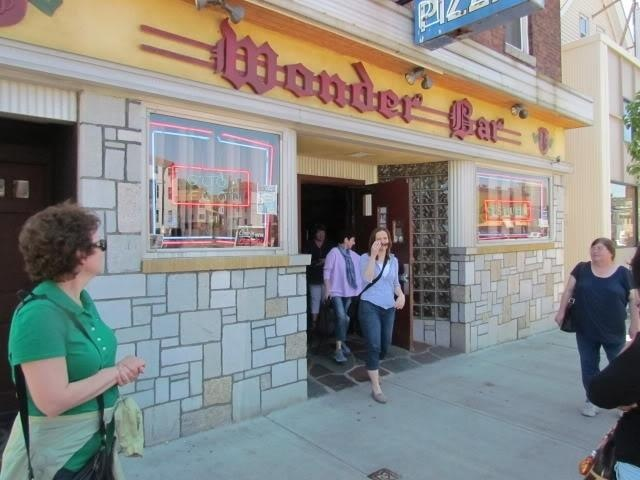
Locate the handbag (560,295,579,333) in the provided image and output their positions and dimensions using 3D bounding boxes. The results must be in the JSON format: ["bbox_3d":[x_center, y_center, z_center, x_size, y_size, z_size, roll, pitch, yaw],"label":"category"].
[{"bbox_3d":[2.790,0.832,5.578,0.141,0.406,0.404,9,5,31],"label":"handbag"}]

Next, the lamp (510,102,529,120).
[{"bbox_3d":[3.370,-2.185,8.456,0.229,0.109,0.243,7,29,-28],"label":"lamp"}]

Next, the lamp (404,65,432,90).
[{"bbox_3d":[1.397,-2.259,7.027,0.305,0.253,0.473,6,8,35],"label":"lamp"}]

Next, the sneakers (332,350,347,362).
[{"bbox_3d":[0.285,1.678,7.216,0.117,0.099,0.215,-1,-5,-18],"label":"sneakers"}]

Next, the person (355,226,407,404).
[{"bbox_3d":[0.725,0.877,6.094,0.494,2.025,0.663,3,7,20],"label":"person"}]
